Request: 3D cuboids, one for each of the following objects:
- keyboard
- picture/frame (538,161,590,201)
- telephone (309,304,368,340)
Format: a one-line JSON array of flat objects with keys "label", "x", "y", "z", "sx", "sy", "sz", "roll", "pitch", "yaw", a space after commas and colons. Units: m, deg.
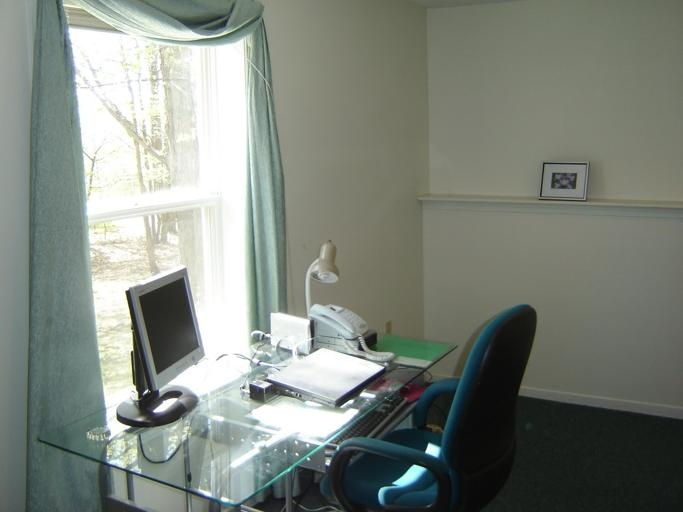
[{"label": "keyboard", "x": 0.101, "y": 0.873, "z": 2.718, "sx": 0.170, "sy": 0.086, "sz": 0.573, "roll": 19, "pitch": 9, "yaw": 24}, {"label": "picture/frame", "x": 1.600, "y": -0.536, "z": 3.902, "sx": 0.259, "sy": 0.240, "sz": 0.026, "roll": 6, "pitch": 0, "yaw": 31}, {"label": "telephone", "x": -0.010, "y": 0.317, "z": 2.700, "sx": 0.223, "sy": 0.102, "sz": 0.163, "roll": 19, "pitch": 20, "yaw": 18}]
